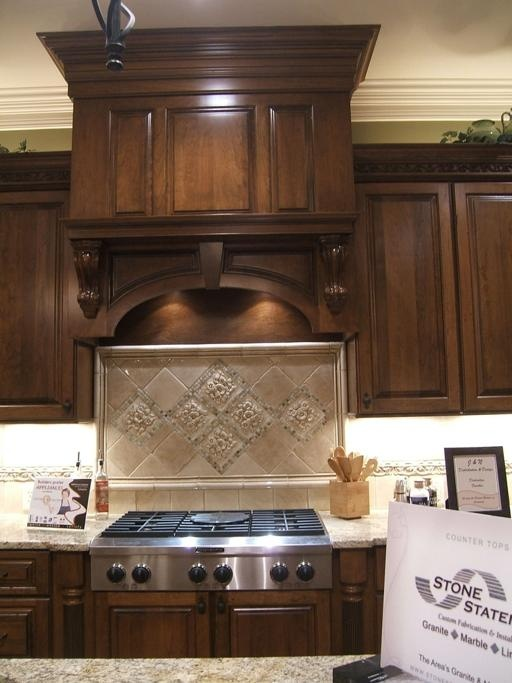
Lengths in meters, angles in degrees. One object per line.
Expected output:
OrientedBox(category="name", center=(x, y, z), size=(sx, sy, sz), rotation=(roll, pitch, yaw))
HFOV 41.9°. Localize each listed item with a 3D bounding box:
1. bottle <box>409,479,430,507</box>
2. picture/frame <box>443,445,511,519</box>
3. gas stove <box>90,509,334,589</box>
OrientedBox(category="bottle", center=(0.572, 0.540, 2.355), size=(0.072, 0.098, 0.183), rotation=(-2, -5, 13))
OrientedBox(category="picture/frame", center=(0.784, 0.504, 2.398), size=(0.206, 0.235, 0.118), rotation=(-3, -6, 15))
OrientedBox(category="gas stove", center=(-0.153, 0.817, 2.586), size=(0.873, 0.199, 0.496), rotation=(-1, -5, 4))
